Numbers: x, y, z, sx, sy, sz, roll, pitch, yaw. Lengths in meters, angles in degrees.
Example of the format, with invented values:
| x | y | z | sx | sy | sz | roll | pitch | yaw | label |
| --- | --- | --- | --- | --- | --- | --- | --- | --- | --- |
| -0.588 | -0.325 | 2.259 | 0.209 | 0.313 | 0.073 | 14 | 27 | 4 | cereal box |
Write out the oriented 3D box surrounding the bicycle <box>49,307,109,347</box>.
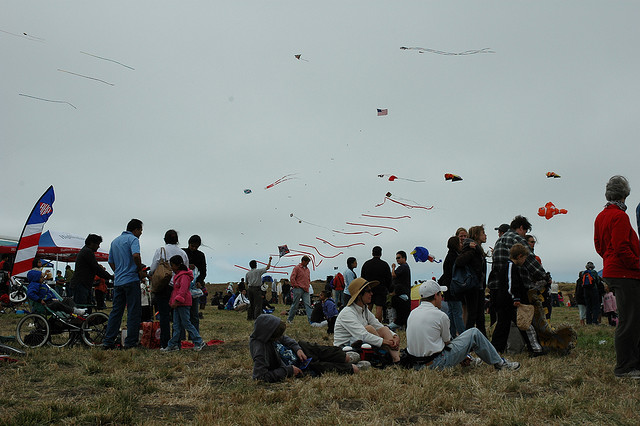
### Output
| x | y | z | sx | sy | sz | roll | pitch | yaw | label |
| --- | --- | --- | --- | --- | --- | --- | --- | --- | --- |
| -5.558 | 2.639 | 13.984 | 1.760 | 0.824 | 0.352 | -4 | -3 | 15 | bicycle |

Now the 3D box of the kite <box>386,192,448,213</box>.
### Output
| x | y | z | sx | sy | sz | roll | pitch | yaw | label |
| --- | --- | --- | --- | --- | --- | --- | --- | --- | --- |
| 2.997 | -0.810 | 19.736 | 1.111 | 0.990 | 2.607 | 0 | 7 | 15 | kite |

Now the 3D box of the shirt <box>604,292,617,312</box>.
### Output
| x | y | z | sx | sy | sz | roll | pitch | yaw | label |
| --- | --- | --- | --- | --- | --- | --- | --- | --- | --- |
| 8.476 | 2.620 | 17.928 | 0.266 | 0.536 | 0.437 | 13 | -18 | -35 | shirt |

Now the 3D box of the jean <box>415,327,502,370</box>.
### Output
| x | y | z | sx | sy | sz | roll | pitch | yaw | label |
| --- | --- | --- | --- | --- | --- | --- | --- | --- | --- |
| 2.755 | 2.572 | 11.571 | 1.336 | 0.771 | 0.246 | 4 | -15 | -6 | jean |

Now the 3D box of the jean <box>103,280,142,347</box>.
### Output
| x | y | z | sx | sy | sz | roll | pitch | yaw | label |
| --- | --- | --- | --- | --- | --- | --- | --- | --- | --- |
| -4.373 | 2.198 | 13.713 | 0.660 | 1.505 | 0.746 | 1 | -1 | 4 | jean |

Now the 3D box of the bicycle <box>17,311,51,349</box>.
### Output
| x | y | z | sx | sy | sz | roll | pitch | yaw | label |
| --- | --- | --- | --- | --- | --- | --- | --- | --- | --- |
| -6.403 | 2.615 | 13.712 | 0.700 | 0.815 | 0.526 | 7 | -15 | -15 | bicycle |

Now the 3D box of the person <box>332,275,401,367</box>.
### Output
| x | y | z | sx | sy | sz | roll | pitch | yaw | label |
| --- | --- | --- | --- | --- | --- | --- | --- | --- | --- |
| 0.990 | 2.216 | 12.218 | 1.499 | 1.734 | 0.960 | -1 | 3 | 33 | person |

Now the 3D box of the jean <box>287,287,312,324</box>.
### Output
| x | y | z | sx | sy | sz | roll | pitch | yaw | label |
| --- | --- | --- | --- | --- | --- | --- | --- | --- | --- |
| -0.612 | 2.834 | 19.130 | 0.923 | 1.593 | 0.412 | -6 | -52 | 4 | jean |

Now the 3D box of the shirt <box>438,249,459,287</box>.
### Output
| x | y | z | sx | sy | sz | roll | pitch | yaw | label |
| --- | --- | --- | --- | --- | --- | --- | --- | --- | --- |
| 2.920 | 1.270 | 13.917 | 0.422 | 0.872 | 1.063 | 0 | -15 | 9 | shirt |

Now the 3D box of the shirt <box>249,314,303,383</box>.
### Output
| x | y | z | sx | sy | sz | roll | pitch | yaw | label |
| --- | --- | --- | --- | --- | --- | --- | --- | --- | --- |
| -0.931 | 2.558 | 11.579 | 0.782 | 1.266 | 0.282 | 4 | -15 | -8 | shirt |

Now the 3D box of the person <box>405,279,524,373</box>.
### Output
| x | y | z | sx | sy | sz | roll | pitch | yaw | label |
| --- | --- | --- | --- | --- | --- | --- | --- | --- | --- |
| 2.488 | 2.216 | 11.723 | 1.640 | 1.688 | 0.517 | 5 | -15 | -9 | person |

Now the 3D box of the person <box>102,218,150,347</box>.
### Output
| x | y | z | sx | sy | sz | roll | pitch | yaw | label |
| --- | --- | --- | --- | --- | --- | --- | --- | --- | --- |
| -4.372 | 1.524 | 13.665 | 0.789 | 2.831 | 0.619 | 4 | -15 | -6 | person |

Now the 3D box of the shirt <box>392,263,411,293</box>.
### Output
| x | y | z | sx | sy | sz | roll | pitch | yaw | label |
| --- | --- | --- | --- | --- | --- | --- | --- | --- | --- |
| 2.150 | 1.687 | 16.038 | 0.442 | 0.689 | 0.466 | 1 | -15 | 6 | shirt |

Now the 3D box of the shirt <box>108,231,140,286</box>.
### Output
| x | y | z | sx | sy | sz | roll | pitch | yaw | label |
| --- | --- | --- | --- | --- | --- | --- | --- | --- | --- |
| -4.426 | 1.040 | 13.859 | 0.867 | 1.234 | 0.445 | -13 | -20 | 19 | shirt |

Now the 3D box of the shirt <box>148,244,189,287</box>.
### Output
| x | y | z | sx | sy | sz | roll | pitch | yaw | label |
| --- | --- | --- | --- | --- | --- | --- | --- | --- | --- |
| -3.463 | 1.073 | 14.049 | 0.835 | 0.773 | 0.448 | 7 | -15 | -15 | shirt |

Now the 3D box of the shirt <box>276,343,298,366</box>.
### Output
| x | y | z | sx | sy | sz | roll | pitch | yaw | label |
| --- | --- | --- | --- | --- | --- | --- | --- | --- | --- |
| -0.649 | 2.720 | 11.732 | 0.138 | 0.421 | 0.299 | -50 | -14 | 33 | shirt |

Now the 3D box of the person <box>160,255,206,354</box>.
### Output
| x | y | z | sx | sy | sz | roll | pitch | yaw | label |
| --- | --- | --- | --- | --- | --- | --- | --- | --- | --- |
| -3.095 | 2.090 | 13.883 | 0.862 | 2.187 | 0.539 | 6 | -15 | -15 | person |

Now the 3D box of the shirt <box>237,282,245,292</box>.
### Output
| x | y | z | sx | sy | sz | roll | pitch | yaw | label |
| --- | --- | --- | --- | --- | --- | --- | --- | --- | --- |
| -3.311 | 3.072 | 25.587 | 0.265 | 0.398 | 0.479 | 4 | -15 | -6 | shirt |

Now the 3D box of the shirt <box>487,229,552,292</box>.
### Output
| x | y | z | sx | sy | sz | roll | pitch | yaw | label |
| --- | --- | --- | --- | --- | --- | --- | --- | --- | --- |
| 4.137 | 0.974 | 12.987 | 1.200 | 1.458 | 0.669 | -5 | -16 | 25 | shirt |

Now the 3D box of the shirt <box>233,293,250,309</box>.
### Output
| x | y | z | sx | sy | sz | roll | pitch | yaw | label |
| --- | --- | --- | --- | --- | --- | --- | --- | --- | --- |
| -3.334 | 3.622 | 25.275 | 0.458 | 0.626 | 1.032 | 16 | -20 | -41 | shirt |

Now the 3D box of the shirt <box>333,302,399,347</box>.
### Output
| x | y | z | sx | sy | sz | roll | pitch | yaw | label |
| --- | --- | --- | --- | --- | --- | --- | --- | --- | --- |
| 0.913 | 2.205 | 12.181 | 1.036 | 0.816 | 0.800 | -4 | 7 | 36 | shirt |

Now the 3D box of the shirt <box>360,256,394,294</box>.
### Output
| x | y | z | sx | sy | sz | roll | pitch | yaw | label |
| --- | --- | --- | --- | --- | --- | --- | --- | --- | --- |
| 1.477 | 1.611 | 15.920 | 0.734 | 0.976 | 0.413 | 3 | -15 | -2 | shirt |

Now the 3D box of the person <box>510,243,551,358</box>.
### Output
| x | y | z | sx | sy | sz | roll | pitch | yaw | label |
| --- | --- | --- | --- | --- | --- | --- | --- | --- | --- |
| 4.538 | 1.700 | 12.699 | 0.620 | 2.600 | 0.714 | 19 | -24 | -40 | person |

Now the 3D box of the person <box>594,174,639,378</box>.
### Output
| x | y | z | sx | sy | sz | roll | pitch | yaw | label |
| --- | --- | --- | --- | --- | --- | --- | --- | --- | --- |
| 5.444 | 1.125 | 11.096 | 0.655 | 3.579 | 0.644 | 1 | -15 | 6 | person |
